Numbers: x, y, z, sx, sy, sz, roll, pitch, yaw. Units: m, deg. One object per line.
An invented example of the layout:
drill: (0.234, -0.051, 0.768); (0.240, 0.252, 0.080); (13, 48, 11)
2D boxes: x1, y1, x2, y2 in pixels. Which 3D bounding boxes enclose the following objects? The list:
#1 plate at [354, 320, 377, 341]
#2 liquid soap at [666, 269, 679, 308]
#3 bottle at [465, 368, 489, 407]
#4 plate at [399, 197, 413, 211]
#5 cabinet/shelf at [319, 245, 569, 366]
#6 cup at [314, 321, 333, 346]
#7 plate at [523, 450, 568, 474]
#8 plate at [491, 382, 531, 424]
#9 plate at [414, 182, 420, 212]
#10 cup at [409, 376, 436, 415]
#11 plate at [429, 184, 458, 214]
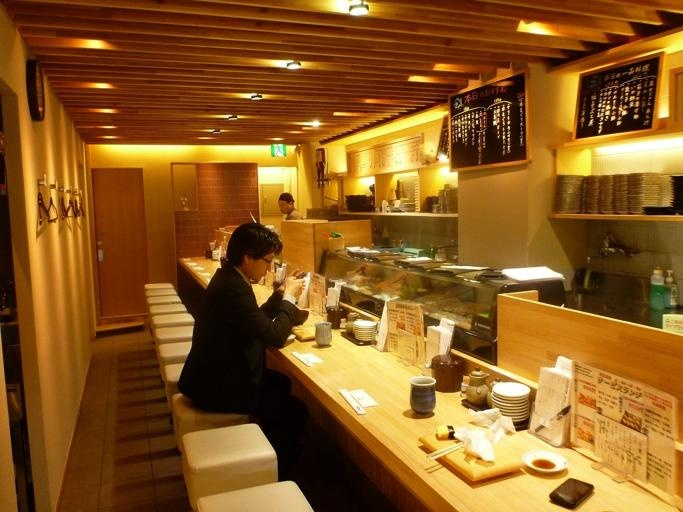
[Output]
plate: (0.155, 0.501, 3.419); (0.117, 0.066, 0.140); (1, 4, 0)
liquid soap: (2.721, 0.268, 4.181); (0.096, 0.302, 0.138); (1, 10, 33)
bottle: (0.660, 0.640, 2.476); (0.164, 0.194, 0.137); (0, -9, 4)
plate: (0.901, -0.711, 7.015); (0.171, 0.149, 0.173); (1, 3, 25)
cabinet/shelf: (0.576, 0.233, 3.529); (0.654, 0.413, 1.851); (-9, 10, -29)
cup: (-0.118, 0.528, 3.431); (0.136, 0.148, 0.137); (1, -3, 0)
plate: (0.802, 0.818, 2.013); (0.088, 0.024, 0.088); (-4, 11, 7)
plate: (0.780, 0.666, 2.342); (0.155, 0.112, 0.154); (-1, 4, -8)
plate: (1.015, -0.803, 6.833); (0.068, 0.406, 0.179); (-4, 9, -1)
cup: (0.389, 0.686, 2.459); (0.137, 0.155, 0.137); (-1, -1, 0)
plate: (1.148, -0.671, 6.102); (0.234, 0.365, 0.382); (2, 7, -12)
